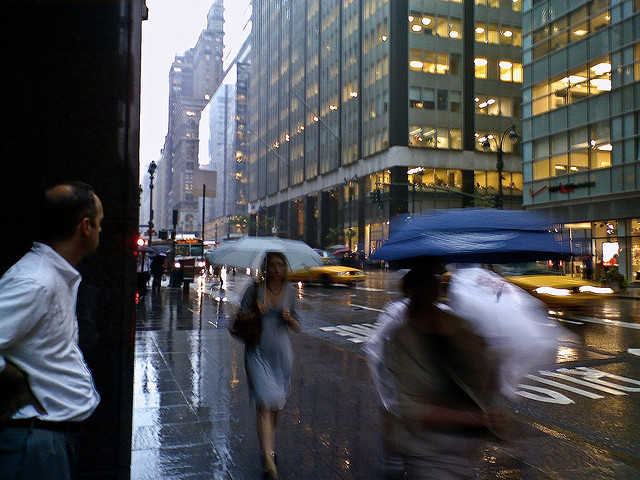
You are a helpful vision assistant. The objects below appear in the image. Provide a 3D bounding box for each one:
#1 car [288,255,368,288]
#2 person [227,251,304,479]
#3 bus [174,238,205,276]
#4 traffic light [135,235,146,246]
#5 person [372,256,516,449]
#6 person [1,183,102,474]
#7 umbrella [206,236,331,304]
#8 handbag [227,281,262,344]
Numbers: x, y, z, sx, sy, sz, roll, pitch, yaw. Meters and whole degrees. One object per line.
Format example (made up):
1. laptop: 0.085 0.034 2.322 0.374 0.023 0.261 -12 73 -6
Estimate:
1. car: 0.294 1.795 27.133 1.848 1.175 3.765 5 -10 -42
2. person: -0.544 1.167 5.433 0.650 2.097 0.689 -2 -3 29
3. bus: -8.516 1.358 35.183 2.161 2.620 4.239 0 0 -13
4. traffic light: -5.478 0.047 16.648 0.450 0.233 0.665 3 2 -12
5. person: 0.787 0.759 3.665 0.873 1.276 0.240 0 -3 6
6. person: -1.503 0.476 3.000 0.222 1.611 0.527 -2 -3 35
7. umbrella: -0.687 0.335 6.941 1.036 0.693 1.123 3 0 -26
8. handbag: -0.800 0.761 5.607 0.307 0.670 0.664 1 -3 -16
